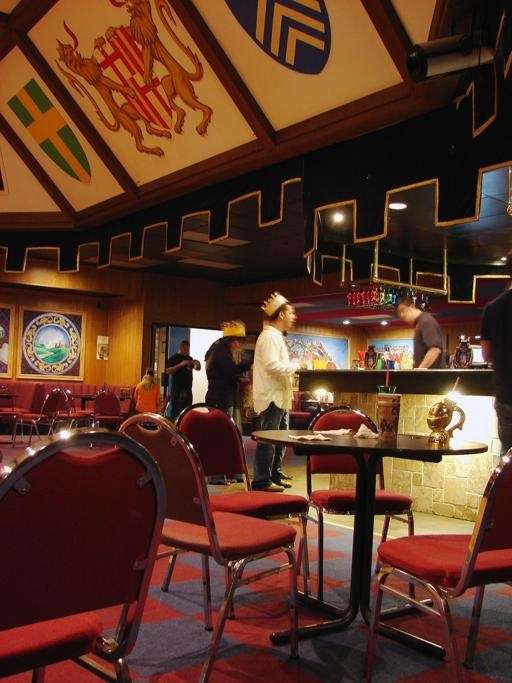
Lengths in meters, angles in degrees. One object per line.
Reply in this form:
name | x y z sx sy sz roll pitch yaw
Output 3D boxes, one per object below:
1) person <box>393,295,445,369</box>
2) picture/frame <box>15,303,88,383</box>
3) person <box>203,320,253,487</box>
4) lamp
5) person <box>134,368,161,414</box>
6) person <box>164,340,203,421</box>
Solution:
person | 1.645 -0.094 5.063 0.416 0.722 0.738 4 1 -3
picture/frame | -4.752 0.040 11.819 1.951 2.216 0.110 0 -2 -40
person | -0.292 0.639 5.826 0.603 1.649 0.543 3 2 0
lamp | 0.988 -1.551 2.849 0.523 0.458 0.267 -7 -11 -3
person | -1.703 0.815 8.157 0.397 0.605 0.744 4 1 -13
person | -1.046 0.676 7.625 0.496 1.344 0.445 5 10 -1
